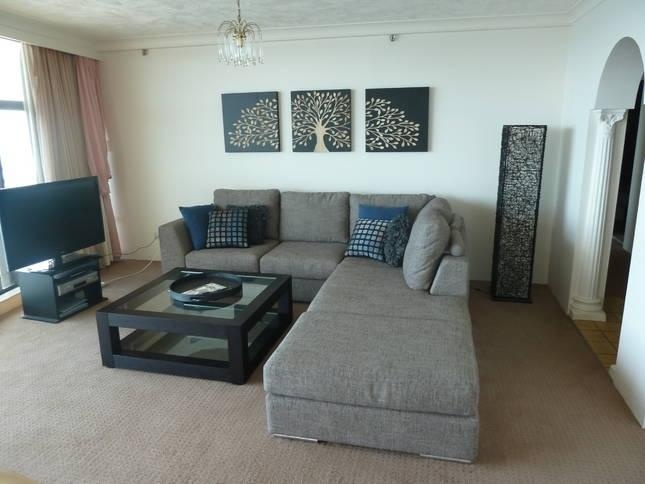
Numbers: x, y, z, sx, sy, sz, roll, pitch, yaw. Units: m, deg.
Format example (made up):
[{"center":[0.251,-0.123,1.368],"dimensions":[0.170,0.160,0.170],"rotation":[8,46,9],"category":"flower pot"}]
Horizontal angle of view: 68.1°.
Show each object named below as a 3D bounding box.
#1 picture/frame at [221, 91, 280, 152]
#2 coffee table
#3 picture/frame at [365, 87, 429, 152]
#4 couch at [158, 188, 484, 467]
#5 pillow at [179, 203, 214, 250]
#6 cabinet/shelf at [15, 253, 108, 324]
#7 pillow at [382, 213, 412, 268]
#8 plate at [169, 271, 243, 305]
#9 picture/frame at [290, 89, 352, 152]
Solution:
[{"center":[-0.834,-1.455,5.702],"dimensions":[0.701,0.680,0.070],"rotation":[2,15,5],"category":"picture/frame"},{"center":[-0.992,0.665,4.125],"dimensions":[1.128,0.452,1.004],"rotation":[4,17,20],"category":"coffee table"},{"center":[0.859,-1.397,5.366],"dimensions":[0.717,0.699,0.025],"rotation":[2,13,14],"category":"picture/frame"},{"center":[0.559,0.508,3.937],"dimensions":[2.494,0.855,2.261],"rotation":[2,20,20],"category":"couch"},{"center":[-1.417,-0.149,5.319],"dimensions":[0.451,0.431,0.128],"rotation":[-10,-8,-40],"category":"pillow"},{"center":[-2.631,0.435,4.939],"dimensions":[0.596,0.701,0.938],"rotation":[2,17,11],"category":"cabinet/shelf"},{"center":[0.768,-0.006,4.626],"dimensions":[0.142,0.459,0.294],"rotation":[19,-11,-35],"category":"pillow"},{"center":[-1.037,0.406,4.175],"dimensions":[0.377,0.045,0.334],"rotation":[6,14,22],"category":"plate"},{"center":[0.003,-1.430,5.541],"dimensions":[0.728,0.712,0.017],"rotation":[1,10,2],"category":"picture/frame"}]
